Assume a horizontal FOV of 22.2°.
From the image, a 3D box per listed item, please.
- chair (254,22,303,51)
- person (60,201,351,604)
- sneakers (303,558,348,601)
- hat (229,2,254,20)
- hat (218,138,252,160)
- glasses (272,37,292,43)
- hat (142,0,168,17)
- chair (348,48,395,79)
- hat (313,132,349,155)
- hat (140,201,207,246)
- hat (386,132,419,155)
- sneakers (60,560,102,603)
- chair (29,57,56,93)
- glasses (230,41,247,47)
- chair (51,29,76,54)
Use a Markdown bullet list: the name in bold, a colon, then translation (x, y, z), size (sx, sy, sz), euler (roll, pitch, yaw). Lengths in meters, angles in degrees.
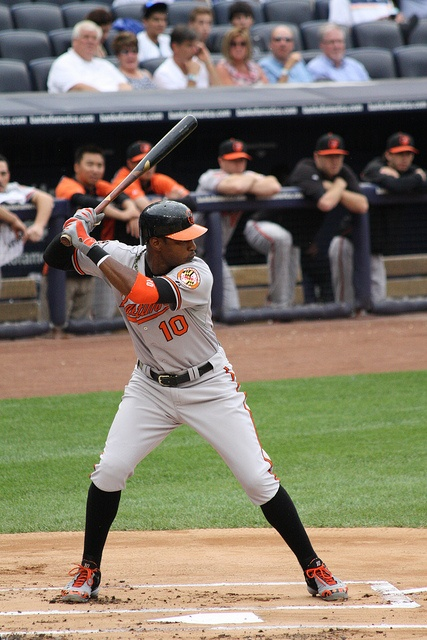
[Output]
- **chair**: translation (0.513, -2.224, 8.542), size (0.389, 0.316, 0.294), euler (-1, 5, -2)
- **person**: translation (-0.092, 0.273, 3.815), size (0.914, 1.377, 0.455), euler (-2, 7, -2)
- **sneakers**: translation (0.382, 0.887, 3.757), size (0.095, 0.120, 0.201), euler (-9, 0, -27)
- **hat**: translation (0.212, -2.280, 8.090), size (0.157, 0.110, 0.143), euler (-2, 37, -2)
- **hat**: translation (0.134, -1.106, 7.052), size (0.137, 0.105, 0.182), euler (1, 2, -22)
- **glasses**: translation (0.517, -2.018, 7.873), size (0.159, 0.034, 0.064), euler (-4, 6, -21)
- **hat**: translation (-0.417, -2.269, 7.985), size (0.166, 0.103, 0.218), euler (-3, 5, -6)
- **chair**: translation (1.250, -1.969, 8.481), size (0.306, 0.284, 0.391), euler (2, -13, -1)
- **hat**: translation (0.756, -1.129, 6.974), size (0.147, 0.098, 0.171), euler (-1, 7, -13)
- **hat**: translation (-0.134, -0.337, 3.724), size (0.192, 0.092, 0.138), euler (-6, 15, 6)
- **hat**: translation (1.254, -1.167, 7.176), size (0.148, 0.097, 0.179), euler (-2, 9, -16)
- **sneakers**: translation (-0.468, 0.900, 3.786), size (0.137, 0.127, 0.155), euler (1, 6, 27)
- **chair**: translation (-1.235, -1.758, 7.853), size (0.230, 0.253, 0.231), euler (-1, -1, -11)
- **glasses**: translation (0.186, -1.897, 7.505), size (0.127, 0.035, 0.039), euler (-4, 6, -23)
- **chair**: translation (-1.136, -2.091, 8.168), size (0.211, 0.202, 0.242), euler (1, -1, -10)
